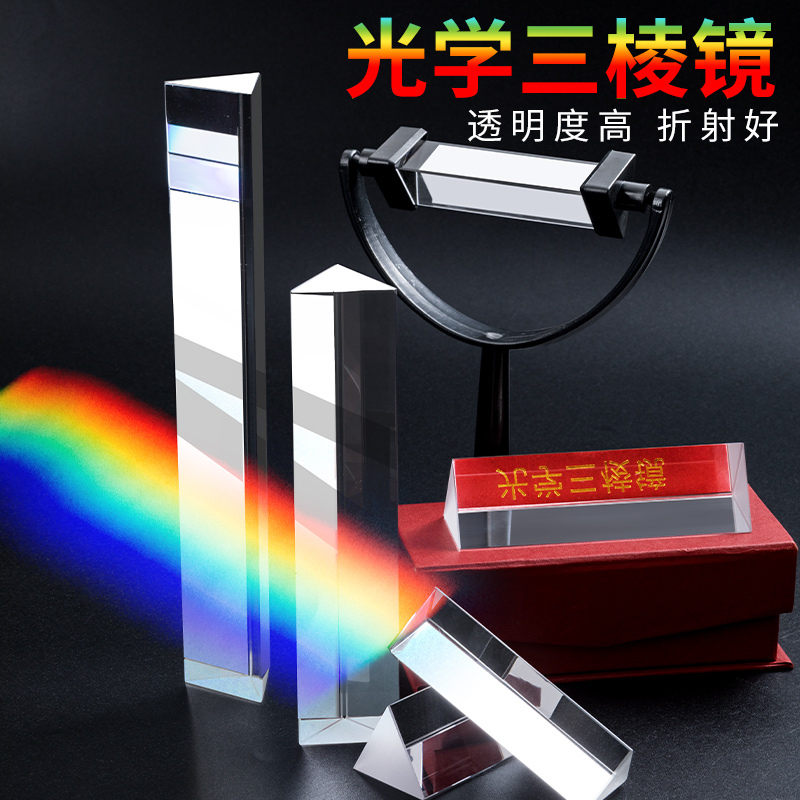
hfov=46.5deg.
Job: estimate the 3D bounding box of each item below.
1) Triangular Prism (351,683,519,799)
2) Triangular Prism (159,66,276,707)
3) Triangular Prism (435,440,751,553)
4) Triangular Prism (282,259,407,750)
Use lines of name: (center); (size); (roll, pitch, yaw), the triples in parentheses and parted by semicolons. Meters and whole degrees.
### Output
Triangular Prism: (0.058, 0.437, 1.451); (0.150, 0.152, 0.244); (3, 9, 39)
Triangular Prism: (-0.310, 0.029, 1.598); (0.167, 1.011, 0.194); (-1, 21, -5)
Triangular Prism: (0.357, 0.171, 1.638); (0.500, 0.168, 0.160); (-2, 45, -3)
Triangular Prism: (-0.082, 0.188, 1.517); (0.170, 0.726, 0.164); (1, 21, -1)
